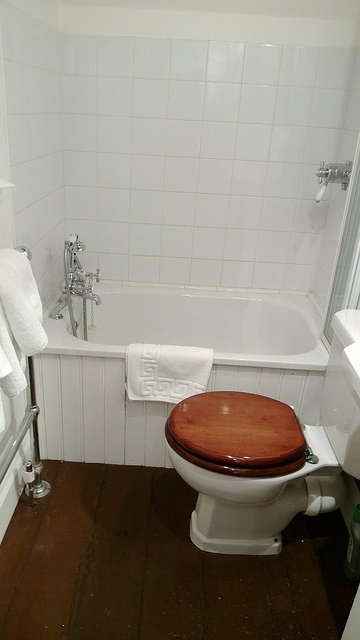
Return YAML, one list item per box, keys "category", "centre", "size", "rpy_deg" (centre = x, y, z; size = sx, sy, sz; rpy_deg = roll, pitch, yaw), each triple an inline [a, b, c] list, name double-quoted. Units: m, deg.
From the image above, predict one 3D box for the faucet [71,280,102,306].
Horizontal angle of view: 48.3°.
- category: "faucet"
  centre: [-0.418, -0.114, 1.773]
  size: [0.108, 0.048, 0.089]
  rpy_deg: [8, 36, -13]

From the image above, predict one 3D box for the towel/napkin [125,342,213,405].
- category: "towel/napkin"
  centre: [-0.045, 0.205, 1.380]
  size: [0.248, 0.226, 0.073]
  rpy_deg: [2, 14, -2]
